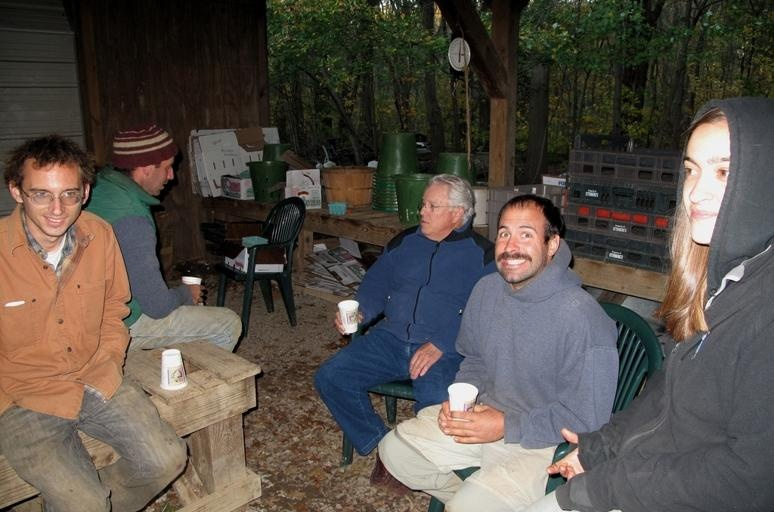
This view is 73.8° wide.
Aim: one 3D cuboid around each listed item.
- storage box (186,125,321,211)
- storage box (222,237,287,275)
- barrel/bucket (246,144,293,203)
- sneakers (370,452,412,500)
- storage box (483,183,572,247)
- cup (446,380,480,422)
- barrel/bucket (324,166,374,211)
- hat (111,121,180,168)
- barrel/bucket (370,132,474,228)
[{"bbox_3d":[-1.765,-1.299,7.410,2.042,0.902,1.269,11,18,31],"label":"storage box"},{"bbox_3d":[-1.387,0.024,5.594,0.440,0.323,0.555,2,8,-20],"label":"storage box"},{"bbox_3d":[-1.611,-1.110,6.995,0.508,0.745,0.634,-3,15,-11],"label":"barrel/bucket"},{"bbox_3d":[0.002,1.475,3.545,0.349,0.230,0.268,18,12,-3],"label":"sneakers"},{"bbox_3d":[1.262,-0.400,4.744,0.684,0.384,0.653,-4,5,-35],"label":"storage box"},{"bbox_3d":[0.399,0.741,2.691,0.157,0.113,0.155,0,4,0],"label":"cup"},{"bbox_3d":[-0.486,-0.842,6.498,0.599,0.324,0.564,-1,9,0],"label":"barrel/bucket"},{"bbox_3d":[-1.812,-0.805,3.854,0.416,0.219,0.384,-13,22,-7],"label":"hat"},{"bbox_3d":[0.208,-0.903,5.873,1.411,1.112,0.780,4,14,22],"label":"barrel/bucket"}]
